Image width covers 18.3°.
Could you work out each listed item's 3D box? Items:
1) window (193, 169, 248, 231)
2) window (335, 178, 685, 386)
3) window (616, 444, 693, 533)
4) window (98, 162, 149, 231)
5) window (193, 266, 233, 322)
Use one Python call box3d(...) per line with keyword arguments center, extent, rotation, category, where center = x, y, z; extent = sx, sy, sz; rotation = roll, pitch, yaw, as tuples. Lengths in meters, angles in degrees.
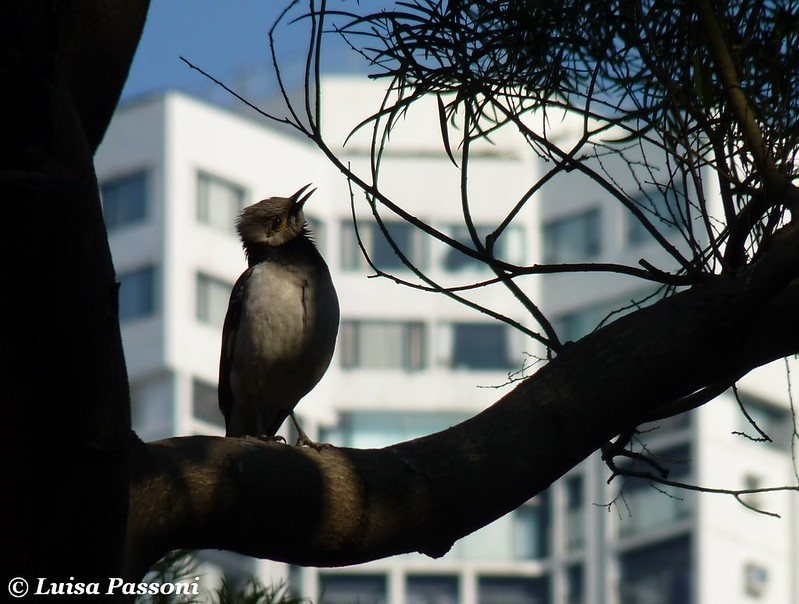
box3d(center=(-2.368, -1.307, 31.811), extent=(0.074, 0.859, 1.146), rotation=(-19, -17, 30), category="window")
box3d(center=(0.557, -0.305, 18.194), extent=(1.649, 0.742, 1.641), rotation=(-4, 7, -40), category="window")
box3d(center=(3.028, 2.175, 29.656), extent=(0.891, 1.143, 2.634), rotation=(-2, -12, 8), category="window")
box3d(center=(-3.639, -1.348, 32.734), extent=(0.852, 0.861, 0.078), rotation=(2, -1, 30), category="window")
box3d(center=(-2.535, -0.043, 31.865), extent=(0.691, 0.768, 0.015), rotation=(-2, -11, -46), category="window")
